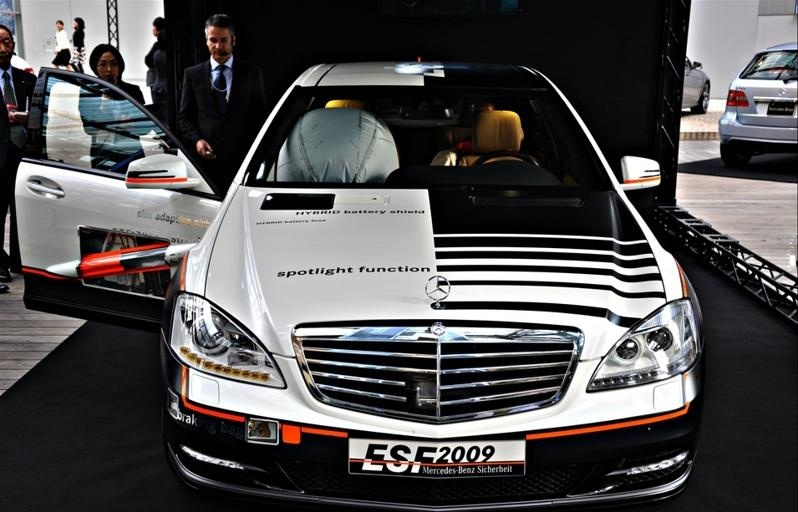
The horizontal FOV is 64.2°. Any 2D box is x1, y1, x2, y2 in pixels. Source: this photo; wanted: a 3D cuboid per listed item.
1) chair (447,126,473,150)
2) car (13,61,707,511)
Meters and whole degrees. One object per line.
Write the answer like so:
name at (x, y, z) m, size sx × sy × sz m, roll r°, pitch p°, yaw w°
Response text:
chair at (0.419, -0.787, 4.278) m, size 0.213 × 0.120 × 0.149 m, roll 11°, pitch 37°, yaw 18°
car at (-0.053, 0.301, 3.715) m, size 2.427 × 1.255 × 2.886 m, roll 1°, pitch 23°, yaw -3°
